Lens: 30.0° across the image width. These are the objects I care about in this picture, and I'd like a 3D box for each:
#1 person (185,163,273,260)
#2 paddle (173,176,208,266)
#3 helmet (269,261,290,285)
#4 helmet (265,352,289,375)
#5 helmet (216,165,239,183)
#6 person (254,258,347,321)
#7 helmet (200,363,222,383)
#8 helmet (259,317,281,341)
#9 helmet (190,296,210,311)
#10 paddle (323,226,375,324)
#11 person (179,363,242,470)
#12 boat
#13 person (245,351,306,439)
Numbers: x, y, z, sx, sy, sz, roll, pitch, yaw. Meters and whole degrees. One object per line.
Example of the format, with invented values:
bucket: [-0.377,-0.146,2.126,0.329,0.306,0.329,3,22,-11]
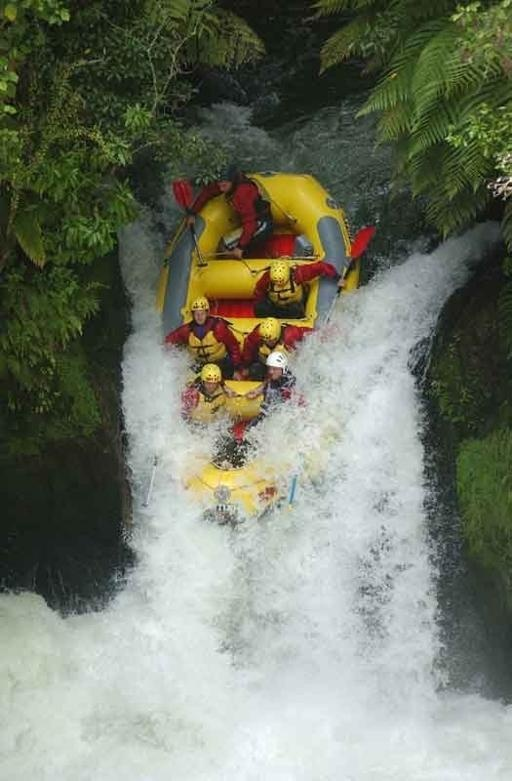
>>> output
person: [-0.288,-2.083,10.910,0.893,1.190,0.798,13,50,20]
paddle: [-0.708,-1.873,10.639,0.185,1.029,0.039,-15,-1,-5]
helmet: [0.287,-1.270,10.357,0.198,0.256,0.229,2,-7,10]
helmet: [0.227,-0.331,10.325,0.203,0.226,0.247,21,42,30]
helmet: [-0.299,-2.402,10.611,0.246,0.164,0.256,-6,35,-2]
person: [0.399,-1.128,10.673,1.011,0.970,0.520,-4,58,5]
helmet: [-0.489,-0.160,10.169,0.218,0.277,0.207,-3,35,2]
helmet: [0.158,-0.635,10.249,0.205,0.238,0.232,8,-12,2]
helmet: [-0.599,-0.909,10.203,0.160,0.123,0.192,3,35,10]
paddle: [1.022,-1.272,10.703,0.208,1.309,0.132,32,10,12]
person: [-0.435,0.263,10.345,0.644,1.086,0.444,2,8,2]
boat: [-0.161,-0.631,10.180,2.395,3.717,0.777,13,-4,2]
person: [0.198,-0.042,10.311,0.371,0.425,0.995,16,68,9]
